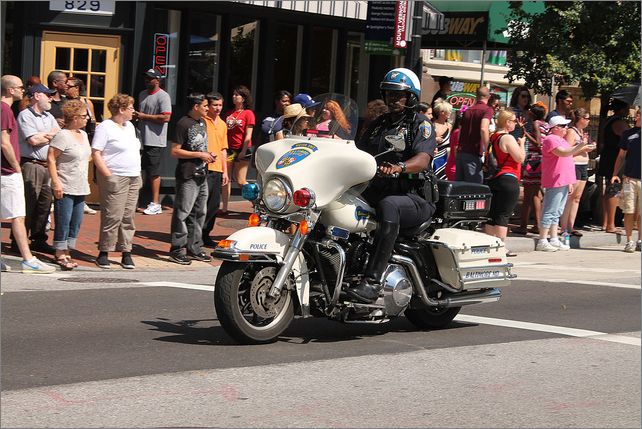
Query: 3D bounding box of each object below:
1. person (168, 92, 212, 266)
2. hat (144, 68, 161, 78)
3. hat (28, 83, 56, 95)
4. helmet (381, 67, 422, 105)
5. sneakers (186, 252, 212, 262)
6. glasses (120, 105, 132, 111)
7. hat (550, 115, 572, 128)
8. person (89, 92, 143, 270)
[{"bbox_3d":[-1.999,-0.543,10.776,0.536,2.718,0.625,12,11,40],"label":"person"},{"bbox_3d":[-3.497,-2.949,14.246,0.284,0.159,0.380,9,0,36],"label":"hat"},{"bbox_3d":[-4.202,-1.885,10.384,0.397,0.114,0.250,-3,9,-43],"label":"hat"},{"bbox_3d":[0.855,-1.329,7.252,0.443,0.309,0.477,-1,-4,39],"label":"helmet"},{"bbox_3d":[-1.963,0.695,11.166,0.469,0.126,0.141,2,4,-2],"label":"sneakers"},{"bbox_3d":[-2.865,-1.577,10.091,0.120,0.028,0.097,1,-35,-19],"label":"glasses"},{"bbox_3d":[4.618,-1.766,13.042,0.408,0.118,0.240,-4,11,8],"label":"hat"},{"bbox_3d":[-3.095,-0.478,10.270,0.762,2.626,0.439,1,9,-22],"label":"person"}]
